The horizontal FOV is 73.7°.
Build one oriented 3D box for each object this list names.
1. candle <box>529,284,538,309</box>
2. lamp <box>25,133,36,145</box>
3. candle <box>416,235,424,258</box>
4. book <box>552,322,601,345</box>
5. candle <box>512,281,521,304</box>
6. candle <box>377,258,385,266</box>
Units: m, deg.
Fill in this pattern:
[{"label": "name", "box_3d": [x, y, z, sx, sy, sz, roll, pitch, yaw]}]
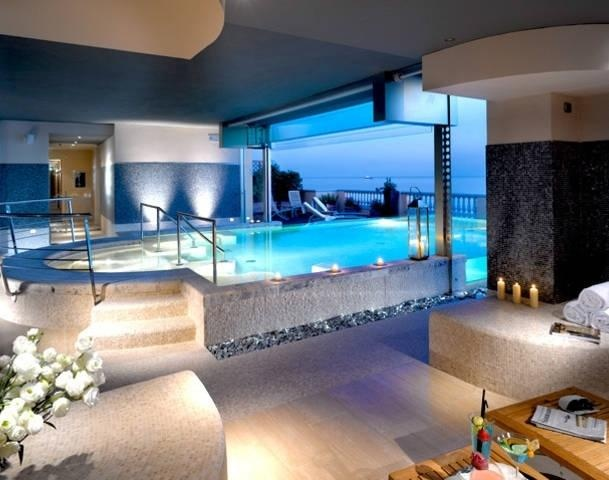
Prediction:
[{"label": "candle", "box_3d": [2.295, 0.557, 4.059, 0.077, 0.213, 0.182, 5, 9, 30]}, {"label": "lamp", "box_3d": [-6.930, -2.588, 10.361, 0.218, 0.273, 0.170, -5, 10, -34]}, {"label": "candle", "box_3d": [1.768, 0.108, 6.172, 0.150, 0.348, 0.083, -5, 9, -32]}, {"label": "book", "box_3d": [2.197, 0.727, 3.300, 0.337, 0.045, 0.409, 7, 11, 37]}, {"label": "candle", "box_3d": [2.172, 0.543, 4.151, 0.070, 0.217, 0.193, 5, 10, 33]}, {"label": "candle", "box_3d": [1.108, 0.332, 5.830, 0.111, 0.134, 0.114, -2, 9, -4]}]
